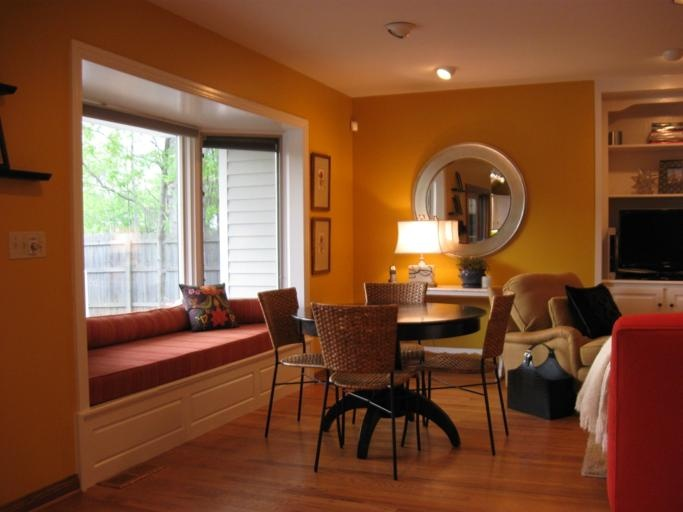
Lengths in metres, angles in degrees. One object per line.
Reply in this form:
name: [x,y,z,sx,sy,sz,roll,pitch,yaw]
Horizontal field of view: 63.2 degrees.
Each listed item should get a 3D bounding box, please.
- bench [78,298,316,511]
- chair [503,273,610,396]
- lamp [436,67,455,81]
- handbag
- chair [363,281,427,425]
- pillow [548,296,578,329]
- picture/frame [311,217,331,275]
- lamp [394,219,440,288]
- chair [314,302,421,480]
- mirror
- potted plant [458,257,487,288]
bench: [-1.167,0.804,4.281,1.158,1.041,1.985,4,8,41]
chair: [1.763,0.574,4.642,0.891,0.887,0.881,-2,0,-36]
lamp: [0.977,-1.754,5.333,0.129,0.043,0.121,0,-1,37]
handbag: [1.592,1.011,4.585,0.403,0.655,0.577,-2,2,-37]
chair: [0.402,0.507,4.553,0.492,0.831,0.572,0,1,17]
pillow: [1.821,0.469,4.619,0.225,0.225,0.089,15,-24,-30]
picture/frame: [-0.228,-0.113,5.771,0.048,0.666,0.591,2,3,24]
lamp: [0.825,-0.047,6.006,0.468,0.679,0.481,0,6,9]
chair: [0.148,0.813,3.644,0.675,1.097,0.718,-1,6,0]
mirror: [1.425,-0.599,6.013,1.172,1.200,0.064,9,9,30]
potted plant: [1.340,0.171,5.776,0.288,0.297,0.293,-1,2,7]
